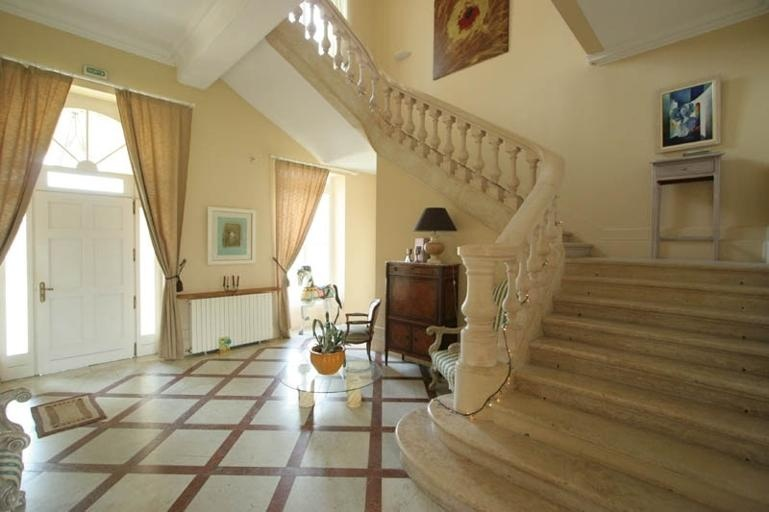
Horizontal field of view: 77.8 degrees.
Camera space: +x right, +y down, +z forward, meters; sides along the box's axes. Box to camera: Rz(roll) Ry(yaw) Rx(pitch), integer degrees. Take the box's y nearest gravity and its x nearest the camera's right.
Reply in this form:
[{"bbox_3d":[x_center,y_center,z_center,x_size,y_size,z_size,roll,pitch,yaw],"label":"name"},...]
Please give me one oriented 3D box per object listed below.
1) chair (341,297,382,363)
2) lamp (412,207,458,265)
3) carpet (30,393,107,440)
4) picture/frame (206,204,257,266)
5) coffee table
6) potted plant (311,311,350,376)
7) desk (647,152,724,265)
[{"bbox_3d":[-0.358,1.091,7.406,0.761,1.092,0.789,1,-3,-3],"label":"chair"},{"bbox_3d":[0.780,-0.291,6.844,0.734,0.849,0.722,-2,2,-22],"label":"lamp"},{"bbox_3d":[-3.733,1.862,5.609,0.682,0.346,0.768,-1,0,-39],"label":"carpet"},{"bbox_3d":[-2.557,-0.351,7.795,0.981,1.224,0.080,-2,3,-44],"label":"picture/frame"},{"bbox_3d":[-0.664,1.587,5.755,1.164,0.490,0.907,-1,0,-2],"label":"coffee table"},{"bbox_3d":[-0.693,1.063,5.709,0.553,0.664,0.553,4,9,40],"label":"potted plant"},{"bbox_3d":[3.637,-0.575,5.790,0.717,1.229,0.552,-1,1,32],"label":"desk"}]
